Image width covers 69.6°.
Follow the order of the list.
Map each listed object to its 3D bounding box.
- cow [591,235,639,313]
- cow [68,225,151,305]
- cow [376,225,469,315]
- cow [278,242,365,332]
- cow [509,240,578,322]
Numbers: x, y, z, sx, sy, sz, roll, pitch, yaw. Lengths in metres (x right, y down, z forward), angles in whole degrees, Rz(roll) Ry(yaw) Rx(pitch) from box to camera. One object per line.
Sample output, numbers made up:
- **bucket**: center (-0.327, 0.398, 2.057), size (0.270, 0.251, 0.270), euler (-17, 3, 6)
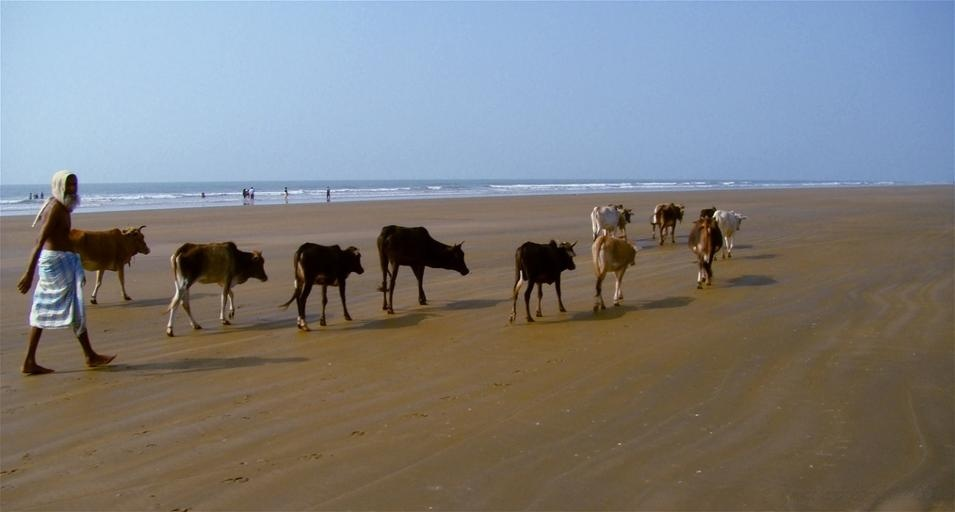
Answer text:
- **cow**: center (3.593, 0.349, 17.841), size (0.625, 1.726, 2.417), euler (7, 4, 33)
- **cow**: center (-10.026, 0.180, 18.217), size (0.861, 1.986, 3.214), euler (-2, 0, 15)
- **cow**: center (-1.781, 0.197, 18.256), size (2.471, 2.084, 1.736), euler (-9, 9, -39)
- **cow**: center (-3.698, 0.719, 17.014), size (0.776, 2.039, 2.971), euler (-4, -3, 24)
- **cow**: center (1.569, 0.533, 16.796), size (1.338, 1.822, 2.008), euler (0, 8, 24)
